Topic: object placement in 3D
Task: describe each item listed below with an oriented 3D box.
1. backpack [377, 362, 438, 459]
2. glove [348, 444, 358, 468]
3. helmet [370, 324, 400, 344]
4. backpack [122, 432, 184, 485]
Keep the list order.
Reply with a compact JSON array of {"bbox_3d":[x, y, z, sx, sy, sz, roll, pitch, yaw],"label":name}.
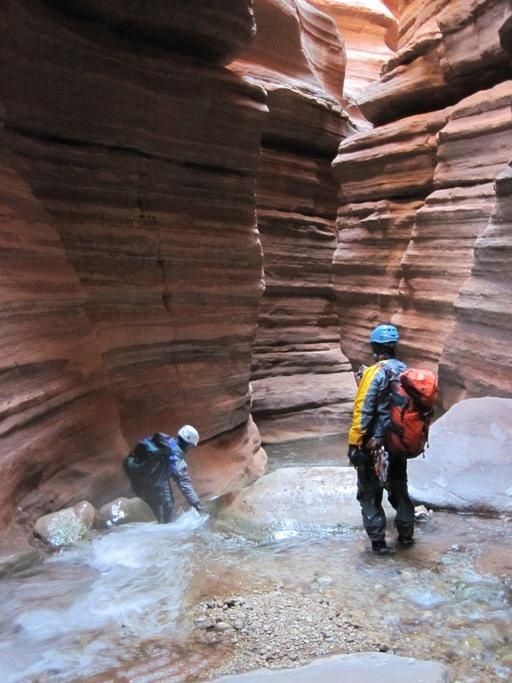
[{"bbox_3d":[0.972,0.453,3.353,0.349,0.567,0.229,-6,-5,26],"label":"backpack"},{"bbox_3d":[0.638,0.749,3.506,0.064,0.157,0.225,-4,-4,8],"label":"glove"},{"bbox_3d":[0.920,-0.033,3.812,0.156,0.137,0.190,6,16,-20],"label":"helmet"},{"bbox_3d":[-0.953,1.051,4.943,0.468,0.379,0.428,22,9,-20],"label":"backpack"}]
